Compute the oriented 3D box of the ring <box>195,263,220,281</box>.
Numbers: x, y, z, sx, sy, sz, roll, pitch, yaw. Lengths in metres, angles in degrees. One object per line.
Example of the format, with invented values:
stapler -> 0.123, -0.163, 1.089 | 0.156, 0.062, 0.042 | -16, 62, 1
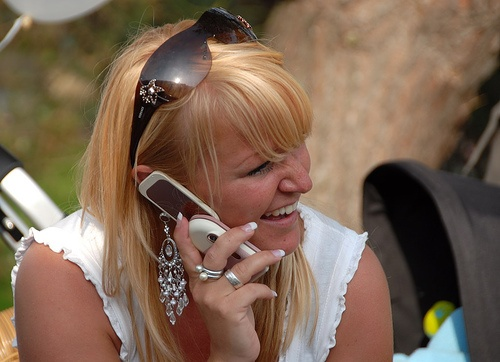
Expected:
ring -> -0.184, 0.395, 2.764 | 0.067, 0.087, 0.029 | 4, 13, 10
